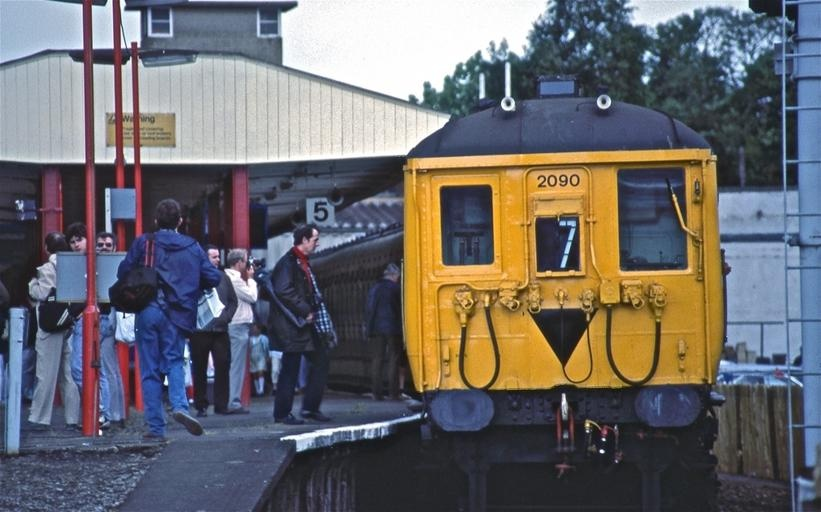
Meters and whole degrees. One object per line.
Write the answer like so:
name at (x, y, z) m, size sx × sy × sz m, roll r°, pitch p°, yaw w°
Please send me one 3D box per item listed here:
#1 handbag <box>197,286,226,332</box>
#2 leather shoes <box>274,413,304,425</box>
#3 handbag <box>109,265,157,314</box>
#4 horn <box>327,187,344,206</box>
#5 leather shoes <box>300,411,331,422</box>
handbag at (-3.004, 0.794, 21.040) m, size 0.216 × 0.536 × 0.519 m, roll 9°, pitch -35°, yaw -35°
leather shoes at (-1.811, 2.464, 21.092) m, size 0.441 × 0.186 × 0.176 m, roll -5°, pitch -4°, yaw 13°
handbag at (-3.903, 0.500, 19.992) m, size 0.664 × 0.537 × 0.259 m, roll -29°, pitch -6°, yaw 11°
horn at (-1.589, -1.179, 28.922) m, size 0.353 × 0.501 × 0.368 m, roll 2°, pitch 9°, yaw 21°
leather shoes at (-1.435, 2.452, 21.465) m, size 0.473 × 0.207 × 0.181 m, roll 5°, pitch -2°, yaw -8°
